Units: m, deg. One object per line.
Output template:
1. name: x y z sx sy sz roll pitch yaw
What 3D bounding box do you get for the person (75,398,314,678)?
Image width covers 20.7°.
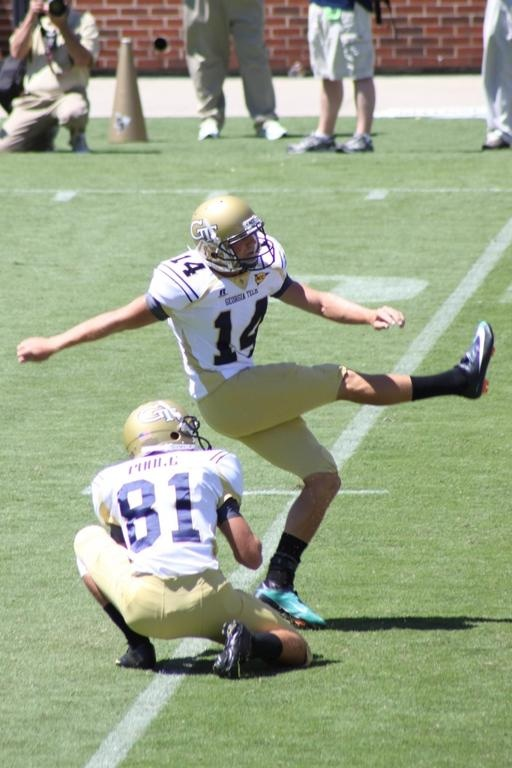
1. person: -0.204 0.402 3.713 0.619 0.734 0.471 -6 -5 19

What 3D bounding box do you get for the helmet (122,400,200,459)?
1. helmet: -0.264 0.123 3.841 0.213 0.158 0.152 -4 -11 -28

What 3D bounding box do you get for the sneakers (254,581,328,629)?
1. sneakers: 0.095 0.622 3.960 0.236 0.102 0.084 27 -13 6

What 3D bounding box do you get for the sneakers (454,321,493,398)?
1. sneakers: 0.662 -0.062 4.207 0.113 0.251 0.085 3 13 -12

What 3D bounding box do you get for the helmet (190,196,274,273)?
1. helmet: -0.082 -0.441 4.090 0.238 0.202 0.195 1 27 18

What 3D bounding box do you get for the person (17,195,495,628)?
1. person: 0.020 0.108 4.095 1.409 1.157 0.403 -7 -3 0
